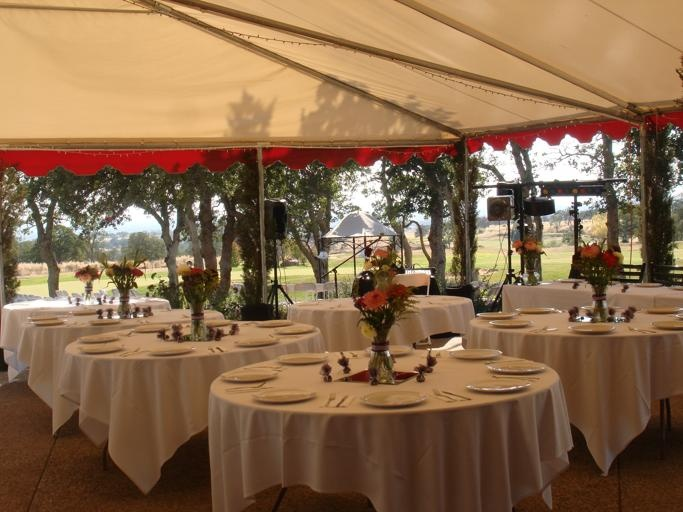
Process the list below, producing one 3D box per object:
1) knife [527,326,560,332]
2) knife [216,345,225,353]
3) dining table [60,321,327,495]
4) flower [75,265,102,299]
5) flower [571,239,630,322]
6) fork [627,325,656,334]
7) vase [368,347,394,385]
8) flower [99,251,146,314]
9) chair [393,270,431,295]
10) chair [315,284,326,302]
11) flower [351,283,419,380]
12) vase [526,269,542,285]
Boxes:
[{"bbox_3d":[1.638,0.584,4.900,0.074,0.028,0.292,13,1,33],"label":"knife"},{"bbox_3d":[-0.907,0.693,4.594,0.028,0.055,0.133,3,10,-21],"label":"knife"},{"bbox_3d":[-1.365,1.001,4.627,1.223,0.650,1.444,-1,-2,16],"label":"dining table"},{"bbox_3d":[-2.991,0.307,7.224,0.273,0.442,0.875,-5,6,-24],"label":"flower"},{"bbox_3d":[2.177,0.192,5.448,0.533,0.897,0.553,-3,3,-7],"label":"flower"},{"bbox_3d":[2.326,0.564,4.726,0.209,0.039,0.069,3,7,25],"label":"fork"},{"bbox_3d":[0.241,0.668,3.752,0.177,0.332,0.180,0,-12,-5],"label":"vase"},{"bbox_3d":[-2.244,0.304,6.307,0.389,0.634,0.638,-4,6,-20],"label":"flower"},{"bbox_3d":[1.006,0.325,8.717,0.428,0.286,0.453,3,-4,-26],"label":"chair"},{"bbox_3d":[-0.421,0.736,12.567,0.279,0.502,0.331,1,-5,-3],"label":"chair"},{"bbox_3d":[0.219,0.481,3.999,0.439,0.793,0.472,1,-2,-12],"label":"flower"},{"bbox_3d":[2.418,0.233,7.652,0.158,0.183,0.177,-4,7,4],"label":"vase"}]
